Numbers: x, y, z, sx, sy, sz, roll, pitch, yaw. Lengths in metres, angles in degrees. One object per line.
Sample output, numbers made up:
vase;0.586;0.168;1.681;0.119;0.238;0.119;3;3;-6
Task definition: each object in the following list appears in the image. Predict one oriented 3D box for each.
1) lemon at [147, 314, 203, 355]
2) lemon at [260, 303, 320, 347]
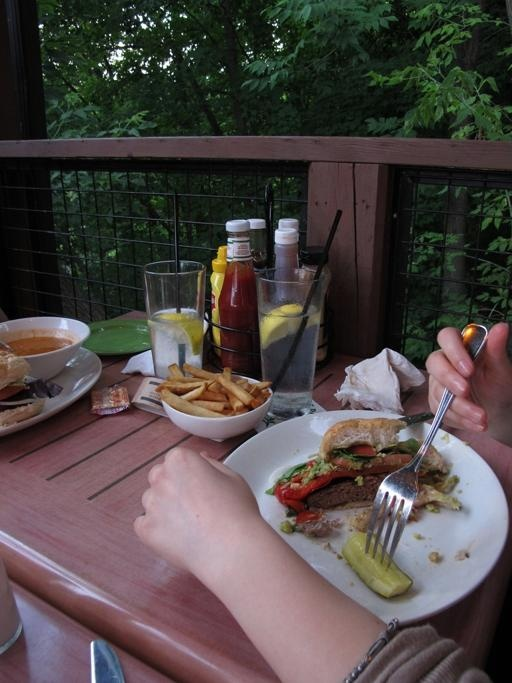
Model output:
lemon;-0.139;-0.016;0.935;0.076;0.067;0.071;-3;18;-8
lemon;0.047;-0.025;0.814;0.075;0.063;0.032;19;4;21
